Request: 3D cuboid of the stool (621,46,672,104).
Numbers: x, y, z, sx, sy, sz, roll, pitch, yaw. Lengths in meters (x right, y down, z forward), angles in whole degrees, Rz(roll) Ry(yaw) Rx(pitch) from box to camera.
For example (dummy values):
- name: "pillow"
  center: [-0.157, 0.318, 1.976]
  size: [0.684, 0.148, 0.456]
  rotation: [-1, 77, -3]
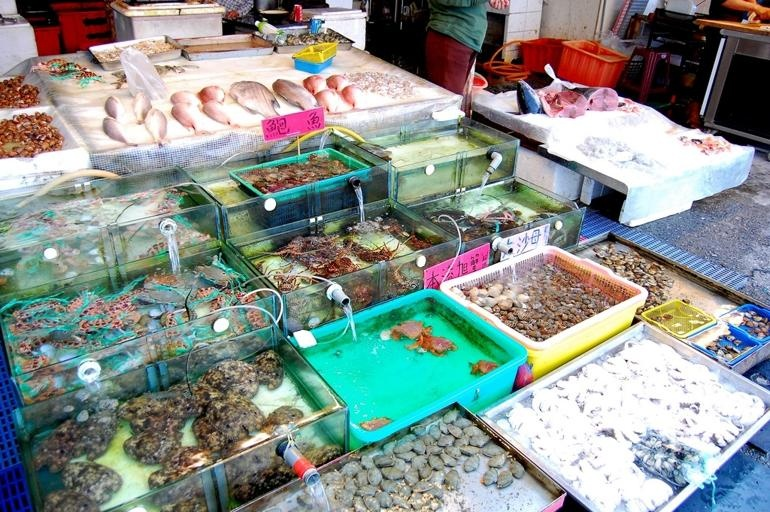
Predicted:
- name: "stool"
  center: [3.475, -2.396, 6.314]
  size: [0.715, 0.763, 0.662]
  rotation: [-13, 30, -21]

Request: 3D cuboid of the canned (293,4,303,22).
- name: "canned"
  center: [-0.905, -2.471, 4.722]
  size: [0.076, 0.145, 0.129]
  rotation: [-10, 43, -13]

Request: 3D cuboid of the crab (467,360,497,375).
- name: "crab"
  center: [0.479, 0.544, 2.261]
  size: [0.096, 0.031, 0.065]
  rotation: [-16, 39, -24]

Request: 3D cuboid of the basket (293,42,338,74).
- name: "basket"
  center: [-0.580, -1.624, 3.797]
  size: [0.247, 0.152, 0.426]
  rotation: [19, 43, 18]

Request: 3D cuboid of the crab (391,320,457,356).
- name: "crab"
  center: [0.198, 0.427, 2.385]
  size: [0.329, 0.036, 0.172]
  rotation: [25, 45, 25]

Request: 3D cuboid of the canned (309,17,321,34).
- name: "canned"
  center: [-0.657, -2.168, 4.357]
  size: [0.114, 0.057, 0.176]
  rotation: [-7, 38, -16]

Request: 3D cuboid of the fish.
- name: "fish"
  center: [-0.978, -0.976, 2.998]
  size: [1.959, 0.044, 0.717]
  rotation: [-13, 43, -25]
